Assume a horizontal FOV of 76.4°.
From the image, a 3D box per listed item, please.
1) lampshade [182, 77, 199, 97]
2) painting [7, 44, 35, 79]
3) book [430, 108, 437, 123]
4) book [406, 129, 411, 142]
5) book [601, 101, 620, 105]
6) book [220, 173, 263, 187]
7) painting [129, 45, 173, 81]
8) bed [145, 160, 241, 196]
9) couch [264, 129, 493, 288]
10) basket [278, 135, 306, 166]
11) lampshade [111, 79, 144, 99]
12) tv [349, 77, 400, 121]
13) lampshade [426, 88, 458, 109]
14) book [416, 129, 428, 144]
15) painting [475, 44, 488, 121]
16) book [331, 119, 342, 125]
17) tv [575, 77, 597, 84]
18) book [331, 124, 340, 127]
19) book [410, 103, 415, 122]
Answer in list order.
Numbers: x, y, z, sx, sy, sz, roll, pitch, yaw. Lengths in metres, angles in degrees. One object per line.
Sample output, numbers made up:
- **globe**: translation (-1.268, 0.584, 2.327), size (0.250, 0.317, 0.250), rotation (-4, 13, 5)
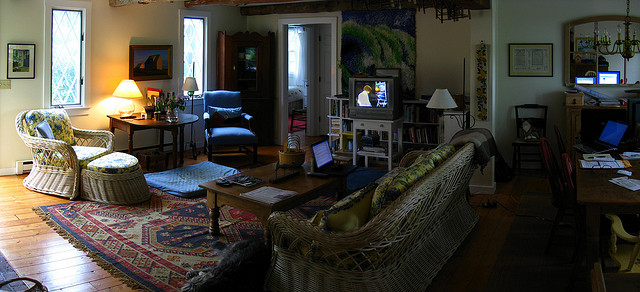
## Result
- **lampshade**: translation (-3.179, -1.440, 9.935), size (0.426, 0.516, 0.398), rotation (-13, 29, -33)
- **painting**: translation (-6.445, -1.803, 8.725), size (0.536, 0.725, 0.067), rotation (-8, 14, -29)
- **book**: translation (2.642, -0.697, 9.519), size (0.160, 0.306, 0.083), rotation (1, 12, 13)
- **book**: translation (2.099, -0.244, 9.722), size (0.070, 0.216, 0.253), rotation (-4, 2, 7)
- **book**: translation (6.291, -0.930, 8.825), size (0.321, 0.066, 0.100), rotation (4, 12, 24)
- **book**: translation (-1.365, 0.596, 7.062), size (0.647, 0.126, 0.329), rotation (5, 13, 28)
- **painting**: translation (-4.231, -2.056, 9.994), size (1.218, 0.825, 0.087), rotation (-4, 9, -39)
- **bed**: translation (-2.864, 0.698, 8.919), size (1.536, 0.368, 1.444), rotation (6, 13, 33)
- **couch**: translation (1.041, 1.095, 6.263), size (3.383, 1.936, 1.246), rotation (-9, 14, -37)
- **basket**: translation (-0.485, 0.082, 7.552), size (0.665, 0.624, 0.582), rotation (1, 0, 7)
- **lampshade**: translation (-4.610, -1.329, 9.686), size (0.752, 0.413, 0.674), rotation (14, 18, 19)
- **tv**: translation (1.548, -1.133, 9.668), size (1.053, 0.957, 1.394), rotation (-7, 11, -37)
- **lampshade**: translation (2.471, -0.969, 8.375), size (0.716, 0.331, 0.720), rotation (-7, 10, -43)
- **book**: translation (2.412, -0.227, 9.609), size (0.313, 0.260, 0.075), rotation (2, 11, 42)
- **painting**: translation (3.274, -1.276, 8.249), size (0.049, 1.807, 0.402), rotation (-6, 8, -23)
- **book**: translation (0.379, -0.601, 10.125), size (0.228, 0.077, 0.144), rotation (3, 5, 22)
- **tv**: translation (5.965, -1.463, 9.132), size (0.369, 0.141, 0.205), rotation (3, 2, 8)
- **book**: translation (0.359, -0.500, 10.139), size (0.198, 0.069, 0.044), rotation (1, 12, 12)
- **book**: translation (2.177, -0.775, 9.625), size (0.089, 0.280, 0.328), rotation (1, 6, 13)
